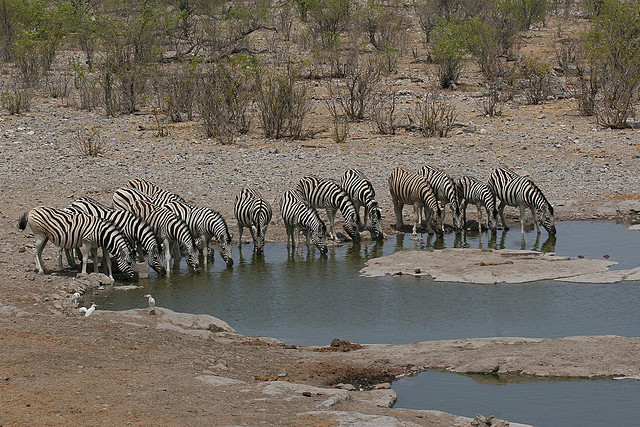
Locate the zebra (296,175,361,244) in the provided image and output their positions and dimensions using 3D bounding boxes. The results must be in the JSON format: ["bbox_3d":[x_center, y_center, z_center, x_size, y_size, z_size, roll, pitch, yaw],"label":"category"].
[{"bbox_3d":[0.242,-0.154,25.305,0.830,1.470,2.862,-6,17,-32],"label":"zebra"}]

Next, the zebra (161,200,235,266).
[{"bbox_3d":[-3.246,0.470,23.549,2.618,1.196,0.657,18,-23,-41],"label":"zebra"}]

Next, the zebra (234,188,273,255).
[{"bbox_3d":[-1.689,0.172,24.147,0.554,1.568,0.933,-8,10,-38],"label":"zebra"}]

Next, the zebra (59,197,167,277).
[{"bbox_3d":[-5.439,0.737,23.624,3.930,1.681,1.022,4,7,29],"label":"zebra"}]

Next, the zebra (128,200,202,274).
[{"bbox_3d":[-3.975,0.615,23.004,0.662,1.354,2.806,-10,-22,42],"label":"zebra"}]

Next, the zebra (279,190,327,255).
[{"bbox_3d":[-0.394,0.203,24.155,1.123,1.535,0.357,2,9,22],"label":"zebra"}]

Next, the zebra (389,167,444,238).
[{"bbox_3d":[2.500,-0.309,25.400,0.565,1.731,1.591,-8,10,-40],"label":"zebra"}]
